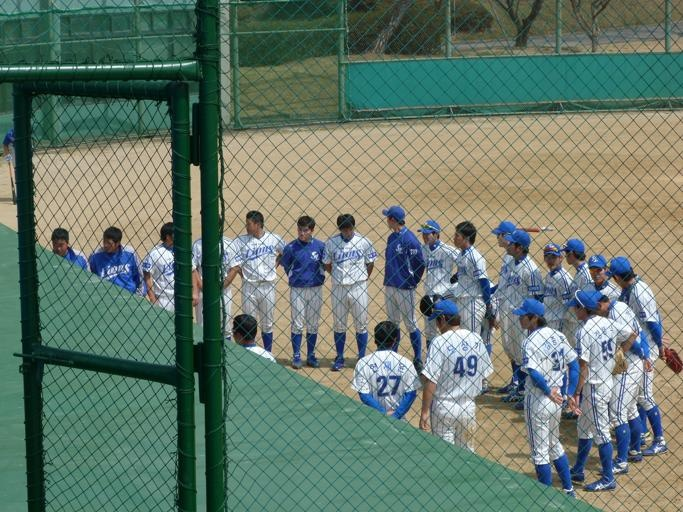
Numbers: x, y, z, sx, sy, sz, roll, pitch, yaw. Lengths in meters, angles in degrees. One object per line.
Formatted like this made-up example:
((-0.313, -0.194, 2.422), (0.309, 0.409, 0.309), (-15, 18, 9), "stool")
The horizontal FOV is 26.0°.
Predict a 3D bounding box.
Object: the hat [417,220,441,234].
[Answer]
((1.106, -0.340, 18.042), (0.203, 0.145, 0.159), (5, 3, -18), "hat")

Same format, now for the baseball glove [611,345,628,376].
((2.938, 1.106, 15.609), (0.059, 0.252, 0.159), (0, -6, -18), "baseball glove")

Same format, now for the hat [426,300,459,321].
((1.068, 0.559, 15.449), (0.228, 0.148, 0.176), (-3, -4, 39), "hat")

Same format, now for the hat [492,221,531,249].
((2.038, -0.223, 17.649), (0.378, 0.247, 0.286), (25, 11, -4), "hat")

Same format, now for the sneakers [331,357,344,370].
((-0.035, 1.308, 18.189), (0.077, 0.185, 0.234), (0, -2, 27), "sneakers")

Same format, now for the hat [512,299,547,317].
((2.003, 0.542, 15.591), (0.229, 0.169, 0.186), (1, 2, 9), "hat")

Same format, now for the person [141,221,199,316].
((-2.018, 0.475, 17.595), (0.607, 1.902, 0.452), (-6, 36, -13), "person")

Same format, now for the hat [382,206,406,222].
((0.627, -0.481, 18.146), (0.253, 0.151, 0.187), (33, 27, 14), "hat")

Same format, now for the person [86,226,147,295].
((-2.605, 0.059, 17.136), (0.617, 0.816, 0.598), (-1, 5, -10), "person")

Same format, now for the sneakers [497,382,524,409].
((1.980, 1.595, 17.290), (0.380, 0.345, 0.141), (1, -1, 28), "sneakers")

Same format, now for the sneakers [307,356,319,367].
((-0.327, 1.296, 18.387), (0.173, 0.156, 0.076), (0, 2, 39), "sneakers")
